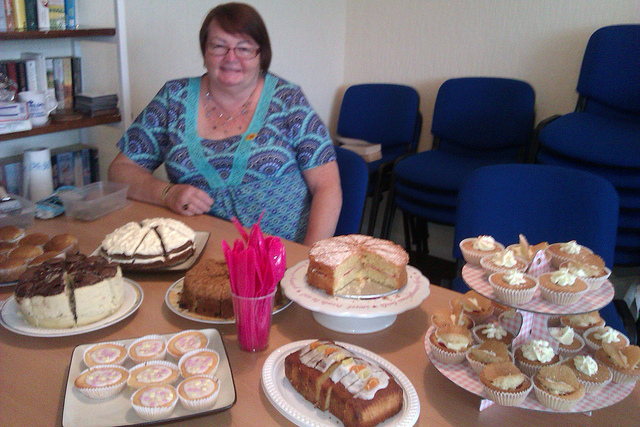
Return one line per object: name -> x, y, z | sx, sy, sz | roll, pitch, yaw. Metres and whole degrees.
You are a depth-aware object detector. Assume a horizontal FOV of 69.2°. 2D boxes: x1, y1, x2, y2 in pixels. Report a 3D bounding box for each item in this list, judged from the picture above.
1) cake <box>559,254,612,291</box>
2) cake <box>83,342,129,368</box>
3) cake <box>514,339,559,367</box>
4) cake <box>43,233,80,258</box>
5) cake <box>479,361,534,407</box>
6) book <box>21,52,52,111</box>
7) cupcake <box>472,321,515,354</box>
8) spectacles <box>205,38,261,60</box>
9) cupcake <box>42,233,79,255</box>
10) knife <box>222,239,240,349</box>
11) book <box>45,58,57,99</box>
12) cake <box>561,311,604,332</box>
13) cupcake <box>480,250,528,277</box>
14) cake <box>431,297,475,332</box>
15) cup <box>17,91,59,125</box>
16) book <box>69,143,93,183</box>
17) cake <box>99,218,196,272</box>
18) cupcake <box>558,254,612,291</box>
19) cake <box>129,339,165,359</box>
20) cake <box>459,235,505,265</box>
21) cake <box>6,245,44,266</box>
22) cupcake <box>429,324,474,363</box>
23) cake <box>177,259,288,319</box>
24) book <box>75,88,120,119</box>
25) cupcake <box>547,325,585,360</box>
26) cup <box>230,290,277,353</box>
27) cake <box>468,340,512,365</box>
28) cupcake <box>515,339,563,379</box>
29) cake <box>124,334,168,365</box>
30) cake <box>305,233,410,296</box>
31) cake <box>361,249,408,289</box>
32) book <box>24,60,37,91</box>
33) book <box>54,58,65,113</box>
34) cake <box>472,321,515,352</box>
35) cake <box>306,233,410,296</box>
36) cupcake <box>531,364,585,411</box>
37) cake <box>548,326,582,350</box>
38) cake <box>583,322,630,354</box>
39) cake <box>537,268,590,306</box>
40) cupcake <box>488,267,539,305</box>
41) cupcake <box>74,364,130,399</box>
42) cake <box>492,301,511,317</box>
cake -> 0.680, 0.131, 1.185 | 0.093, 0.037, 0.100 | -7, 15, 4
cake -> -0.557, 0.368, 1.207 | 0.108, 0.034, 0.079 | -9, 21, -22
cake -> 0.532, 0.327, 1.138 | 0.073, 0.051, 0.069 | -2, -1, 2
cake -> -0.874, 0.096, 1.570 | 0.096, 0.070, 0.096 | -10, 21, -30
cake -> 0.450, 0.416, 1.119 | 0.098, 0.068, 0.105 | -3, 4, 36
book -> -1.536, -0.706, 2.498 | 0.052, 0.381, 0.282 | -15, 25, -40
cupcake -> 0.454, 0.316, 1.217 | 0.098, 0.068, 0.088 | -13, 17, -43
spectacles -> -0.361, -0.690, 1.946 | 0.218, 0.084, 0.073 | -2, 20, -6
cupcake -> -0.864, 0.101, 1.554 | 0.080, 0.042, 0.080 | 7, 28, 30
knife -> -0.238, 0.199, 1.232 | 0.033, 0.319, 0.016 | 0, 8, 14
book -> -1.511, -0.761, 2.596 | 0.026, 0.258, 0.189 | -9, 27, -30
cake -> 0.683, 0.282, 1.211 | 0.074, 0.027, 0.079 | -16, -2, 26
cupcake -> 0.481, 0.127, 1.218 | 0.075, 0.059, 0.088 | -12, 4, 0
cake -> 0.366, 0.284, 1.305 | 0.093, 0.074, 0.101 | 2, 11, -3
cup -> -1.512, -0.568, 2.504 | 0.124, 0.173, 0.194 | 10, 17, 29
book -> -1.464, -0.296, 2.838 | 0.082, 0.236, 0.249 | -6, 7, -36
cake -> -0.608, 0.101, 1.637 | 0.328, 0.104, 0.332 | 7, 16, 22
cupcake -> 0.681, 0.136, 1.196 | 0.092, 0.050, 0.098 | -12, 6, 4
cake -> -0.455, 0.355, 1.220 | 0.088, 0.021, 0.056 | -5, 20, -13
cake -> 0.465, 0.091, 1.358 | 0.093, 0.063, 0.096 | -6, 6, -5
cake -> -0.961, 0.126, 1.493 | 0.068, 0.018, 0.068 | -15, 37, -33
cupcake -> 0.336, 0.329, 1.175 | 0.087, 0.059, 0.095 | -1, 8, -1
cake -> -0.309, 0.214, 1.419 | 0.209, 0.053, 0.196 | 7, 30, -10
book -> -1.285, -0.662, 2.667 | 0.185, 0.092, 0.186 | 25, 34, 36
cupcake -> 0.628, 0.320, 1.203 | 0.078, 0.064, 0.089 | -2, 2, -10
cup -> -0.176, 0.277, 1.301 | 0.163, 0.196, 0.151 | 1, 10, 0
cake -> 0.424, 0.346, 1.155 | 0.100, 0.034, 0.066 | 10, 22, 26
cupcake -> 0.529, 0.352, 1.142 | 0.090, 0.084, 0.098 | -3, 0, 1
cake -> -0.456, 0.364, 1.229 | 0.102, 0.036, 0.102 | -15, 25, -36
cake -> 0.098, 0.131, 1.430 | 0.219, 0.083, 0.198 | -4, 18, -13
cake -> 0.198, 0.157, 1.427 | 0.100, 0.093, 0.171 | -13, 20, -41
book -> -1.569, -0.749, 2.507 | 0.042, 0.125, 0.128 | -7, 26, -22
book -> -1.486, -0.741, 2.639 | 0.033, 0.304, 0.223 | -7, 26, -21
cake -> 0.455, 0.313, 1.217 | 0.071, 0.052, 0.073 | -1, 0, -11
cake -> 0.093, 0.148, 1.425 | 0.221, 0.076, 0.197 | 12, 18, 39
cupcake -> 0.557, 0.412, 1.093 | 0.104, 0.077, 0.078 | -2, 20, -6
cake -> 0.625, 0.321, 1.192 | 0.054, 0.048, 0.070 | -3, -1, -3
cake -> 0.733, 0.315, 1.188 | 0.076, 0.058, 0.087 | -2, 3, -6
cake -> 0.597, 0.173, 1.148 | 0.106, 0.071, 0.123 | 18, 27, 41
cupcake -> 0.481, 0.172, 1.155 | 0.125, 0.068, 0.093 | -5, 20, -13
cupcake -> -0.535, 0.417, 1.146 | 0.122, 0.051, 0.071 | -5, 20, -14
cake -> 0.496, 0.258, 1.280 | 0.055, 0.016, 0.041 | 0, 14, 27
